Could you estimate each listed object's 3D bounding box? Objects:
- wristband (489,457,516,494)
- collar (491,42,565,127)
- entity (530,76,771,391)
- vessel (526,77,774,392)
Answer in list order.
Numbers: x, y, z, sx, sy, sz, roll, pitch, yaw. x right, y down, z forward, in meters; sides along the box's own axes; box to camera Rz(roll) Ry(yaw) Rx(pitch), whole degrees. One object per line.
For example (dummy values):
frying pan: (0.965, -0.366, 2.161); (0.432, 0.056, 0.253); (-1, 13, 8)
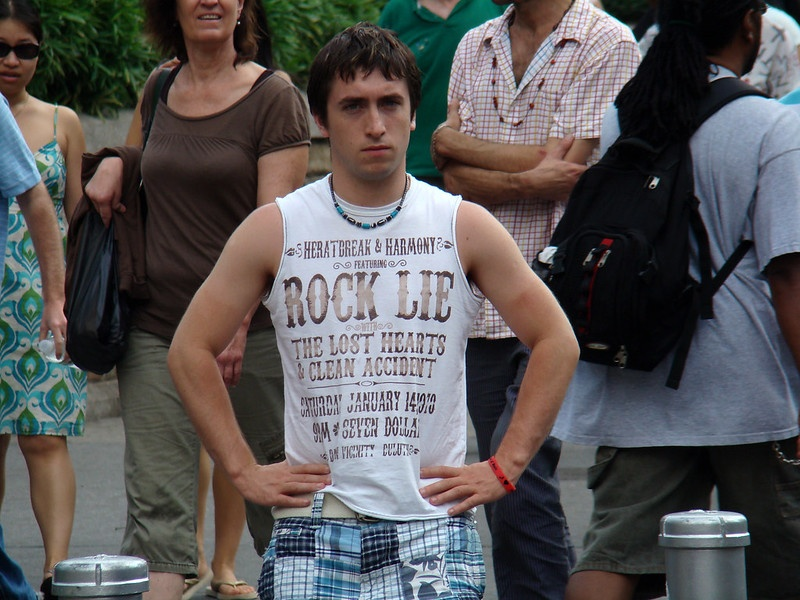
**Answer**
wristband: (0.347, 0.602, 4.870); (0.028, 0.106, 0.095); (-38, 14, 3)
collar: (0.501, -0.915, 6.260); (0.347, 0.420, 0.054); (-8, 34, -33)
entity: (1.004, -0.317, 5.734); (0.711, 1.221, 0.832); (8, 0, -32)
vessel: (0.995, -0.289, 5.765); (0.751, 1.257, 0.872); (11, -3, -39)
